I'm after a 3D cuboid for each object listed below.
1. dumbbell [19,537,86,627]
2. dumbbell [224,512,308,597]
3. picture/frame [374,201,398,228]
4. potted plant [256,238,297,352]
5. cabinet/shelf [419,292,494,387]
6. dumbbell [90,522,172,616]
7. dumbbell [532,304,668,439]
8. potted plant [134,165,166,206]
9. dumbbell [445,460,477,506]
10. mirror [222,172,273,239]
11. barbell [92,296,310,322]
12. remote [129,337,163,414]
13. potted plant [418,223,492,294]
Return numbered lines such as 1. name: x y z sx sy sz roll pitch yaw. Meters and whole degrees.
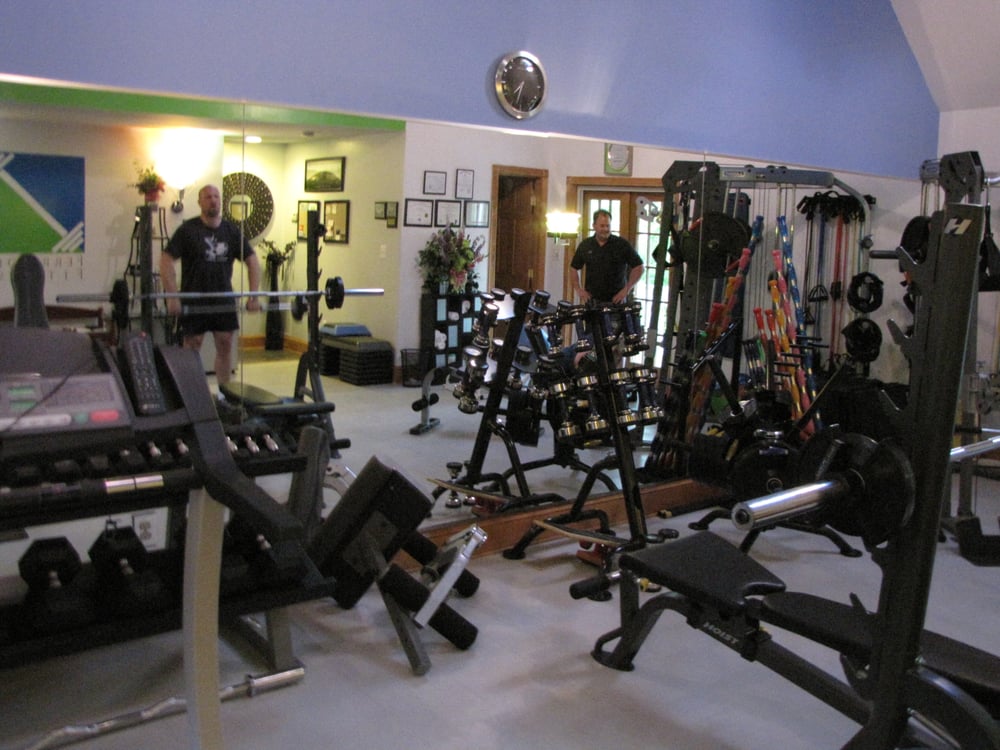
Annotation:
1. dumbbell: -1.679 0.770 2.695 0.208 0.126 0.628 -6 14 -35
2. dumbbell: -0.977 0.727 2.975 0.335 0.178 0.456 -3 12 -21
3. picture/frame: -0.511 -0.709 3.151 0.107 0.128 0.013 -2 7 -33
4. potted plant: -0.977 -0.346 3.123 0.123 0.483 0.157 -1 11 -26
5. cabinet/shelf: -0.234 -0.185 3.552 0.347 0.655 0.157 -8 18 -36
6. dumbbell: -1.440 0.773 2.772 0.239 0.099 0.539 -5 14 -32
7. dumbbell: 0.533 0.030 3.980 0.507 0.884 0.276 -7 -6 4
8. potted plant: -1.310 -0.705 2.666 0.113 0.154 0.110 -7 13 -39
9. dumbbell: -0.231 0.620 4.051 0.202 0.257 0.226 0 -1 -3
10. mirror: -1.023 -0.686 2.904 0.196 0.258 0.073 -3 11 -22
11. barbell: -1.141 -0.348 3.071 0.820 0.116 0.112 -6 -25 -50
12. remote: -1.143 0.012 2.307 0.098 0.353 0.057 -5 -26 -33
13. potted plant: -0.256 -0.564 3.478 0.331 0.375 0.258 -4 22 -38
